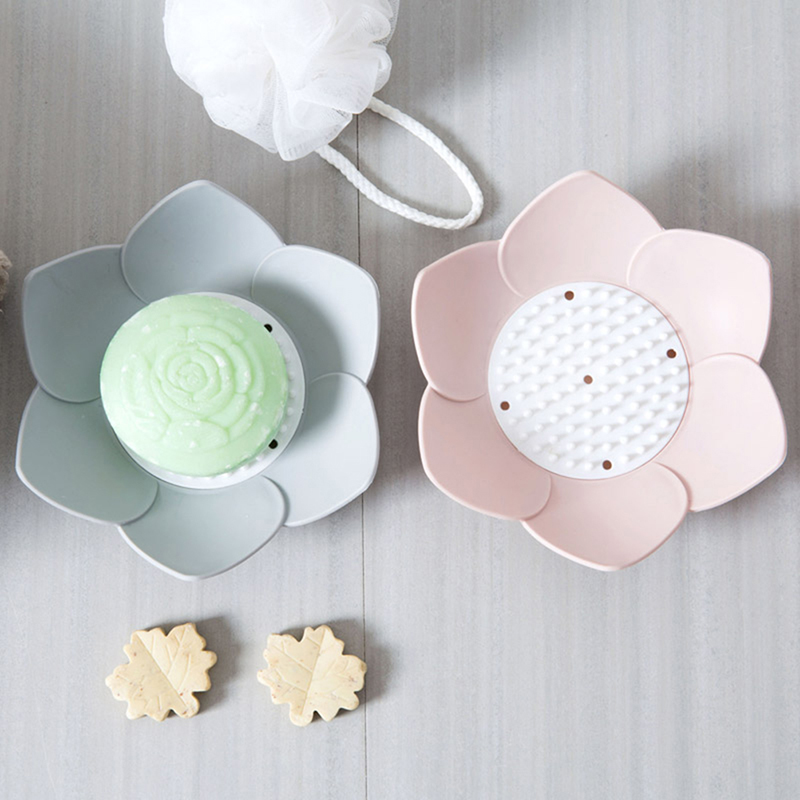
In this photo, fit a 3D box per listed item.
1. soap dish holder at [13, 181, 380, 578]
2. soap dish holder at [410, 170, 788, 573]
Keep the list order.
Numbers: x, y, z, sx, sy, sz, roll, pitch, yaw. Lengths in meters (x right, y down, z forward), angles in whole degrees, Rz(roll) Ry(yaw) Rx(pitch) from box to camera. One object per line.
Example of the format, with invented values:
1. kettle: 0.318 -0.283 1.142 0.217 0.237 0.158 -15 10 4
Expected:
1. soap dish holder: -0.228 -0.019 1.367 0.429 0.209 0.394 26 65 15
2. soap dish holder: 0.229 -0.035 1.377 0.454 0.213 0.382 -27 64 -13
